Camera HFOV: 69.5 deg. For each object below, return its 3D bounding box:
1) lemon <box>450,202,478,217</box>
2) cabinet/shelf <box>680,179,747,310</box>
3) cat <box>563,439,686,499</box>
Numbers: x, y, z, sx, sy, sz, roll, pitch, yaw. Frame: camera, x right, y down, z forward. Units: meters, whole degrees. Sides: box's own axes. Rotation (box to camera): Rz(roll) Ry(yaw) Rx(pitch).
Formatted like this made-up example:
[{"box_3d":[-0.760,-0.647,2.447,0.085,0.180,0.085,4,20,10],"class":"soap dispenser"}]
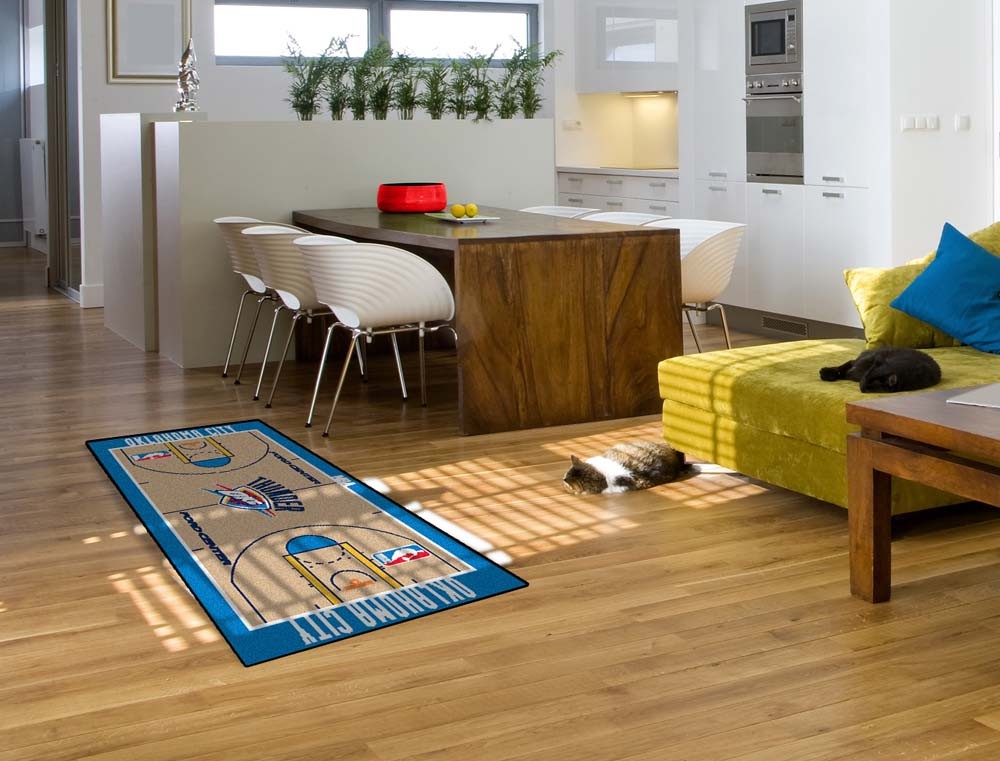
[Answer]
[{"box_3d":[-0.237,-1.092,4.683,0.126,0.073,0.185,0,10,-7],"class":"lemon"},{"box_3d":[1.410,-0.752,4.868,0.395,0.643,1.602,1,11,13],"class":"cabinet/shelf"},{"box_3d":[0.566,0.389,3.232,0.479,0.139,0.224,-7,-3,-11],"class":"cat"}]
